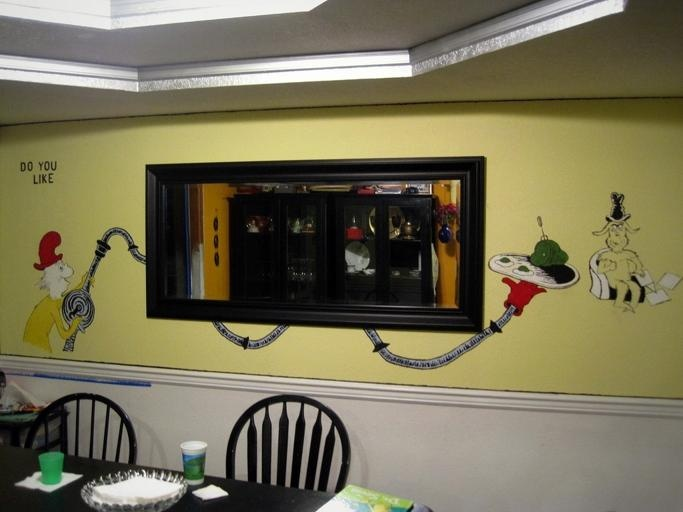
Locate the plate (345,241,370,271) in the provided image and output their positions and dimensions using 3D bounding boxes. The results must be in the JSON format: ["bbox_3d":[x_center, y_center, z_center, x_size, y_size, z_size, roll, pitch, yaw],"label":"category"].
[{"bbox_3d":[0.110,0.005,3.256,0.166,0.189,0.055,2,9,4],"label":"plate"}]

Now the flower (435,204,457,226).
[{"bbox_3d":[0.651,-0.258,3.117,0.114,0.130,0.114,-2,12,-20],"label":"flower"}]

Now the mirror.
[{"bbox_3d":[-0.227,-0.069,3.270,2.136,1.156,0.090,1,12,9],"label":"mirror"}]

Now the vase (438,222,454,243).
[{"bbox_3d":[0.646,-0.139,3.127,0.097,0.196,0.090,0,4,6],"label":"vase"}]

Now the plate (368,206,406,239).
[{"bbox_3d":[0.285,-0.213,3.220,0.225,0.197,0.067,3,9,5],"label":"plate"}]
